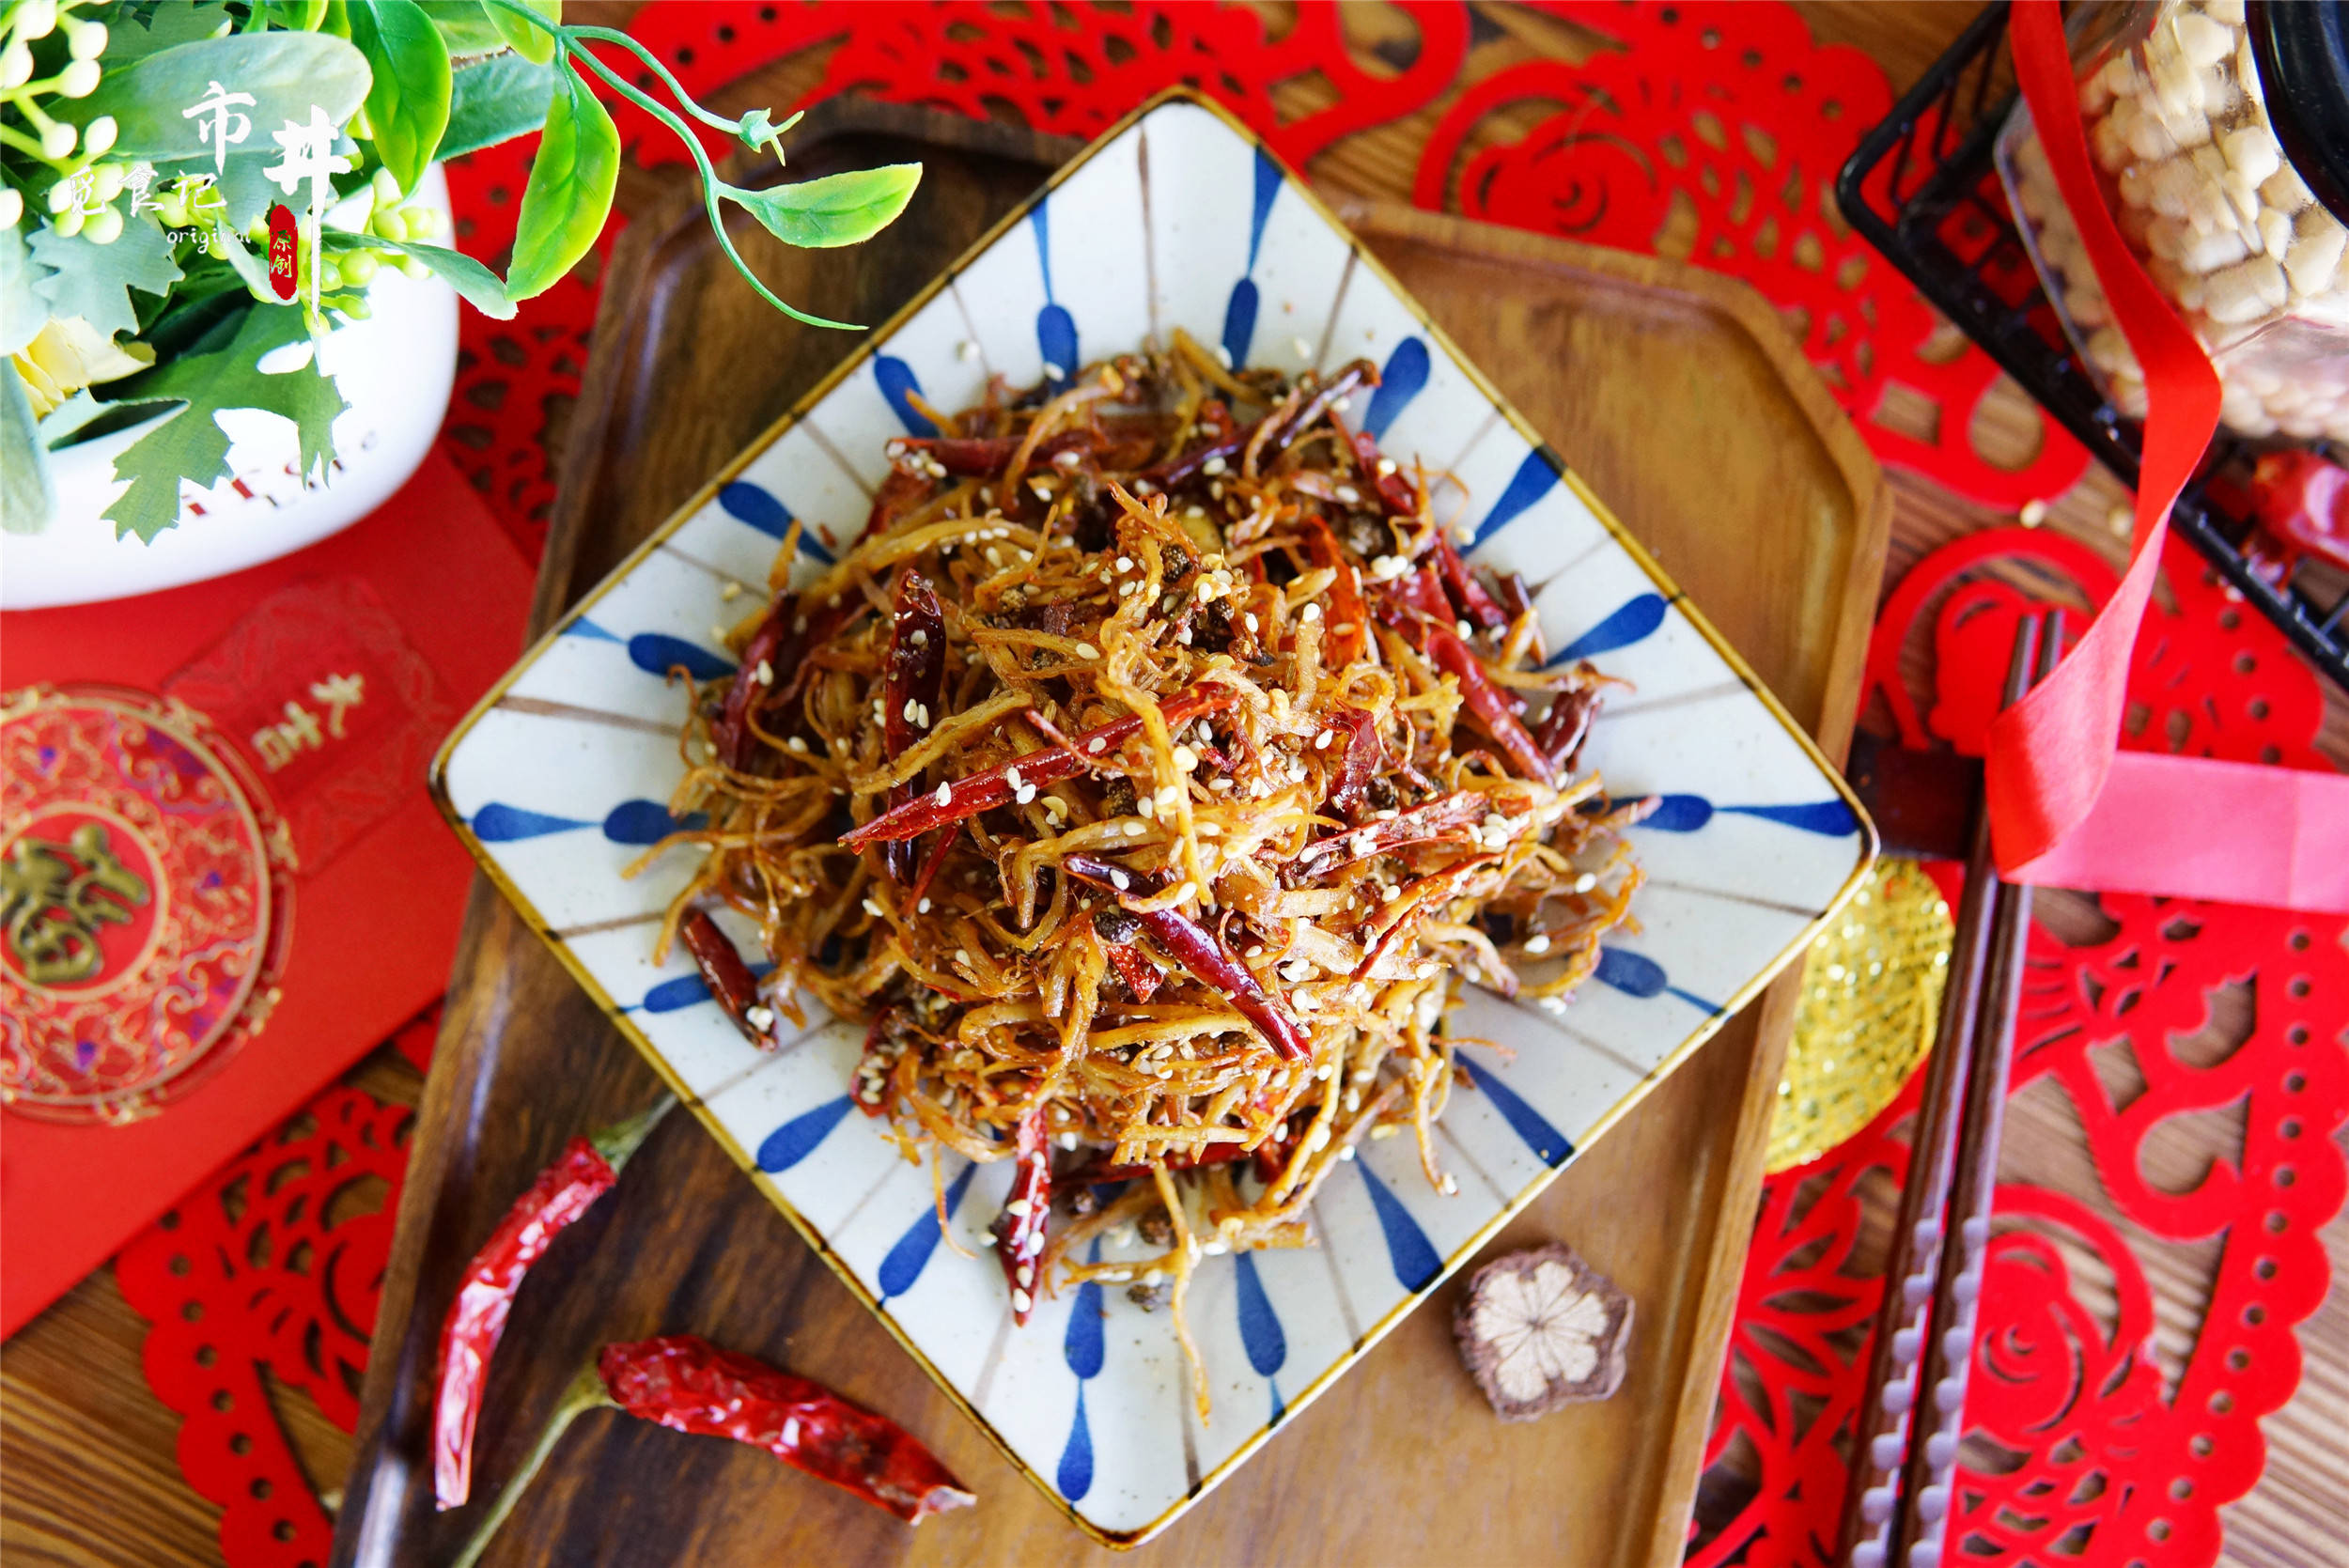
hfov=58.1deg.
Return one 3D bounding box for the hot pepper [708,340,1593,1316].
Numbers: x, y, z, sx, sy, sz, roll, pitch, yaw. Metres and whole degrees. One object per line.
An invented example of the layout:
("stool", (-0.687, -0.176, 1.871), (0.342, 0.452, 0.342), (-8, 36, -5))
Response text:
("hot pepper", (-0.034, 0.044, 3.214), (1.362, 0.599, 1.316), (-42, -75, 12))
